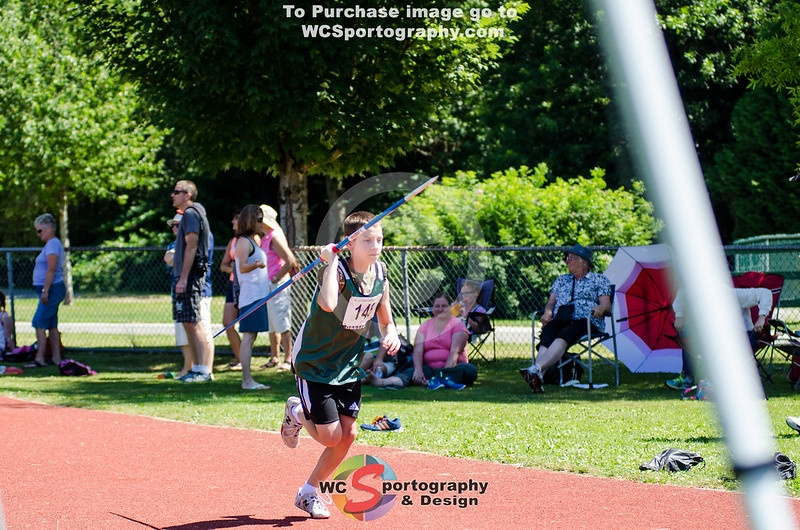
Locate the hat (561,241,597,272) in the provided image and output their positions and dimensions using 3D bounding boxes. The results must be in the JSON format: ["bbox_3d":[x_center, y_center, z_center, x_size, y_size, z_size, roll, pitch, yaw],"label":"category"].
[{"bbox_3d":[3.254,-0.175,19.797,0.550,0.211,0.457,30,-9,-18],"label":"hat"}]

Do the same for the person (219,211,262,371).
[{"bbox_3d":[-3.199,0.493,20.852,0.740,2.936,0.719,3,-2,1],"label":"person"}]

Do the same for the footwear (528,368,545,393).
[{"bbox_3d":[2.336,1.955,18.848,0.177,0.486,0.219,-3,18,15],"label":"footwear"}]

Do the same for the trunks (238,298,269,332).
[{"bbox_3d":[-2.508,0.857,18.925,0.667,0.640,0.380,0,-4,-43],"label":"trunks"}]

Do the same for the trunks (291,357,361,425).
[{"bbox_3d":[-1.021,1.720,14.777,1.021,0.960,0.605,3,-8,-37],"label":"trunks"}]

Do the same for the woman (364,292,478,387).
[{"bbox_3d":[0.556,1.418,19.352,1.320,1.643,2.188,4,17,34],"label":"woman"}]

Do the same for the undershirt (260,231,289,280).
[{"bbox_3d":[-2.284,-0.212,20.313,0.547,0.726,0.405,-17,11,27],"label":"undershirt"}]

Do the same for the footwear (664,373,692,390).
[{"bbox_3d":[4.799,2.029,19.001,0.406,0.188,0.197,-1,-8,14],"label":"footwear"}]

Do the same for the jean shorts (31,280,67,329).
[{"bbox_3d":[-6.780,0.779,21.373,0.593,0.915,0.393,-1,-3,-23],"label":"jean shorts"}]

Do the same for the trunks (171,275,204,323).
[{"bbox_3d":[-3.643,0.688,19.427,0.649,1.143,1.112,2,-4,-15],"label":"trunks"}]

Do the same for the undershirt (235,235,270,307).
[{"bbox_3d":[-2.590,0.104,19.647,0.628,1.198,0.765,-9,-5,13],"label":"undershirt"}]

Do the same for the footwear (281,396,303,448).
[{"bbox_3d":[-1.482,2.165,15.019,0.337,0.733,0.261,7,18,30],"label":"footwear"}]

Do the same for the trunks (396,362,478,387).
[{"bbox_3d":[0.676,1.999,19.696,1.455,0.612,0.494,2,-4,6],"label":"trunks"}]

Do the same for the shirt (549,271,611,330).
[{"bbox_3d":[3.229,0.657,19.558,0.937,0.906,0.541,-1,-19,32],"label":"shirt"}]
